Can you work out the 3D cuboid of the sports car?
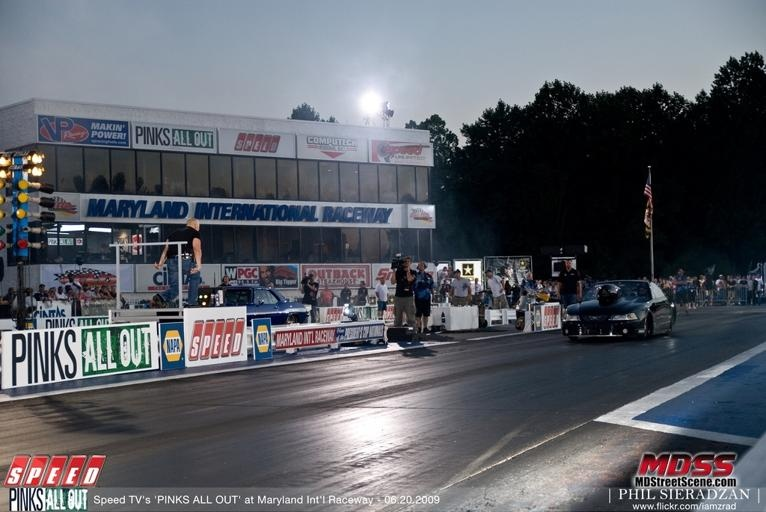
[{"bbox_3d":[6.685,1.479,23.901,3.244,1.652,1.943,1,-4,-38],"label":"sports car"}]

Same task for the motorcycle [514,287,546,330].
[{"bbox_3d":[6.140,2.017,34.141,1.026,1.674,1.060,-12,20,-4],"label":"motorcycle"}]
